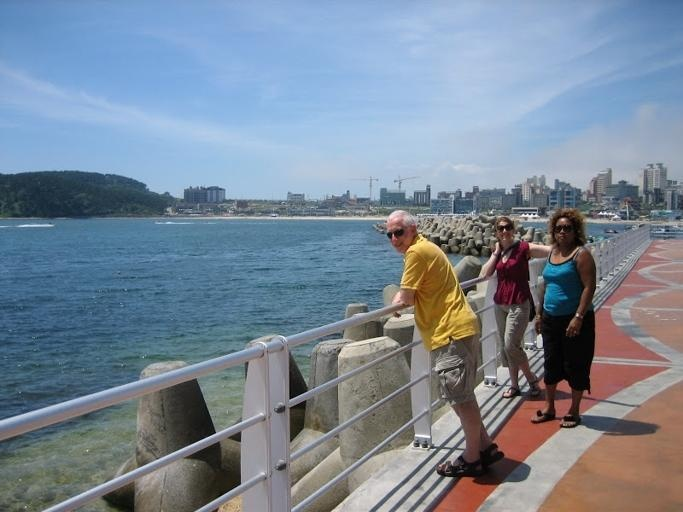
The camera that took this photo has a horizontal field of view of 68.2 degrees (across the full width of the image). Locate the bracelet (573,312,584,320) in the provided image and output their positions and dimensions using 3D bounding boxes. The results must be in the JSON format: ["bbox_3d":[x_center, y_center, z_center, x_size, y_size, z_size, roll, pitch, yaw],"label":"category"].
[{"bbox_3d":[2.342,0.593,4.989,0.084,0.053,0.085,8,-7,-18],"label":"bracelet"}]

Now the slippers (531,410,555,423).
[{"bbox_3d":[2.122,1.679,5.287,0.305,0.105,0.104,4,-12,-25],"label":"slippers"}]

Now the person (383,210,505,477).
[{"bbox_3d":[0.851,0.724,4.165,0.900,2.233,0.425,-3,5,-3],"label":"person"}]

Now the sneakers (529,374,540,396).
[{"bbox_3d":[2.301,1.560,6.018,0.111,0.305,0.076,-13,-25,34],"label":"sneakers"}]

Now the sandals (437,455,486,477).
[{"bbox_3d":[0.982,1.753,4.160,0.307,0.113,0.177,2,-9,5],"label":"sandals"}]

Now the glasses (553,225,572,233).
[{"bbox_3d":[2.286,-0.285,5.190,0.190,0.098,0.097,0,5,23],"label":"glasses"}]

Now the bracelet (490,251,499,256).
[{"bbox_3d":[1.853,-0.030,6.100,0.059,0.052,0.058,3,12,19],"label":"bracelet"}]

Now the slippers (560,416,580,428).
[{"bbox_3d":[2.340,1.686,5.155,0.188,0.110,0.104,-2,4,8],"label":"slippers"}]

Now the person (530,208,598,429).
[{"bbox_3d":[2.307,0.622,5.233,0.571,2.218,0.484,0,5,29],"label":"person"}]

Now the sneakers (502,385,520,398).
[{"bbox_3d":[2.055,1.623,6.045,0.254,0.087,0.103,2,-6,-29],"label":"sneakers"}]
